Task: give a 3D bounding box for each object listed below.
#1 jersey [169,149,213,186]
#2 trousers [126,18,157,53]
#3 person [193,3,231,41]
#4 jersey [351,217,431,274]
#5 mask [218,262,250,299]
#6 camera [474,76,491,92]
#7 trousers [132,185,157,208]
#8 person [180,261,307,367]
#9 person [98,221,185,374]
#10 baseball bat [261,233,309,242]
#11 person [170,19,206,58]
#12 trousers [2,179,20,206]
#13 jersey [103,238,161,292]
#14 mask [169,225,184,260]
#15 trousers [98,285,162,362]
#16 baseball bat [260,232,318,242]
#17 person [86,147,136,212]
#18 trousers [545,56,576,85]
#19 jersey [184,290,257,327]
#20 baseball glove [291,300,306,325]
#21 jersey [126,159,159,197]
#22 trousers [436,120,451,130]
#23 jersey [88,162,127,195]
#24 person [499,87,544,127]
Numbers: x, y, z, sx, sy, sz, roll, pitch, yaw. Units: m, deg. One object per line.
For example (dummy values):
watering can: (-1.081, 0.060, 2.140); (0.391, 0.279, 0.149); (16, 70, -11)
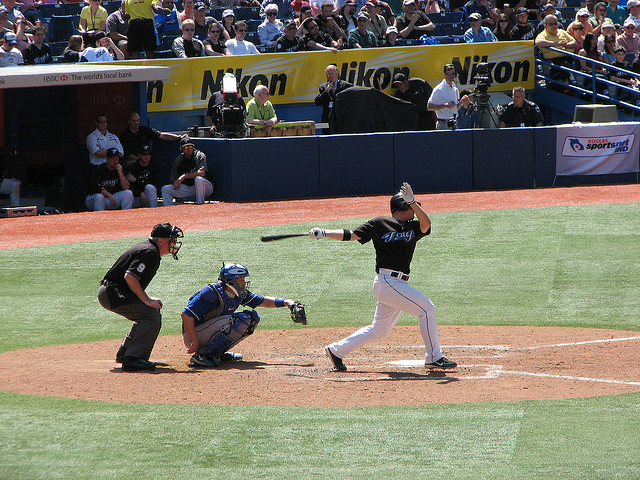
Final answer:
jersey: (-2.477, -1.412, 26.450); (0.748, 0.553, 0.369); (-5, 21, -17)
trousers: (-3.619, -4.128, 27.401); (0.741, 0.596, 0.390); (-6, 15, -30)
person: (-2.404, -4.565, 28.376); (0.793, 0.861, 0.808); (-9, 16, -37)
jersey: (0.886, -0.021, 16.944); (0.854, 0.714, 0.811); (-1, 14, -18)
mask: (-1.099, 0.477, 17.092); (0.475, 0.419, 0.344); (10, 12, 7)
camera: (3.580, -3.390, 29.381); (0.402, 0.314, 0.337); (0, 4, 1)
trousers: (-3.315, -0.834, 26.163); (0.498, 0.400, 0.165); (-1, 4, -3)
person: (-1.060, 0.943, 17.118); (1.331, 1.321, 0.337); (0, 6, -2)
person: (-2.240, 0.722, 16.913); (1.042, 1.863, 0.490); (-1, 6, -9)
baseball bat: (-0.503, -0.043, 19.195); (0.636, 0.071, 0.095); (-5, 1, 5)
person: (-2.594, -4.096, 27.623); (0.721, 0.756, 0.800); (-3, 6, -24)
trousers: (-5.898, -0.910, 25.750); (0.318, 0.515, 0.308); (-1, 6, -12)
jersey: (-2.315, 0.262, 16.992); (0.633, 0.607, 0.593); (-8, 18, -34)
mask: (-1.813, 0.013, 16.949); (0.168, 0.354, 0.282); (7, 9, -6)
trousers: (-2.332, 0.995, 17.198); (0.788, 0.937, 0.873); (-3, 19, -30)
baseball bat: (-0.458, -0.059, 19.757); (0.876, 0.099, 0.132); (-3, 7, 3)
person: (-4.043, -1.159, 25.923); (0.866, 1.177, 0.629); (-1, 6, -9)
trousers: (5.613, -3.911, 31.101); (0.669, 0.626, 0.508); (1, 6, 14)
jersey: (-1.301, 0.862, 17.129); (0.797, 0.453, 0.228); (-1, 6, -9)
baseball glove: (-0.255, 0.909, 17.001); (0.184, 0.289, 0.223); (0, 6, -4)
jersey: (-3.434, -1.241, 26.293); (0.628, 0.727, 0.229); (-1, 32, -26)
trousers: (2.646, -2.439, 28.546); (0.406, 0.185, 0.215); (3, 3, -8)
jersey: (-3.973, -1.130, 26.005); (0.755, 0.756, 0.667); (-3, 3, 21)
person: (4.298, -2.730, 28.443); (0.908, 0.690, 0.281); (-2, 6, -16)
